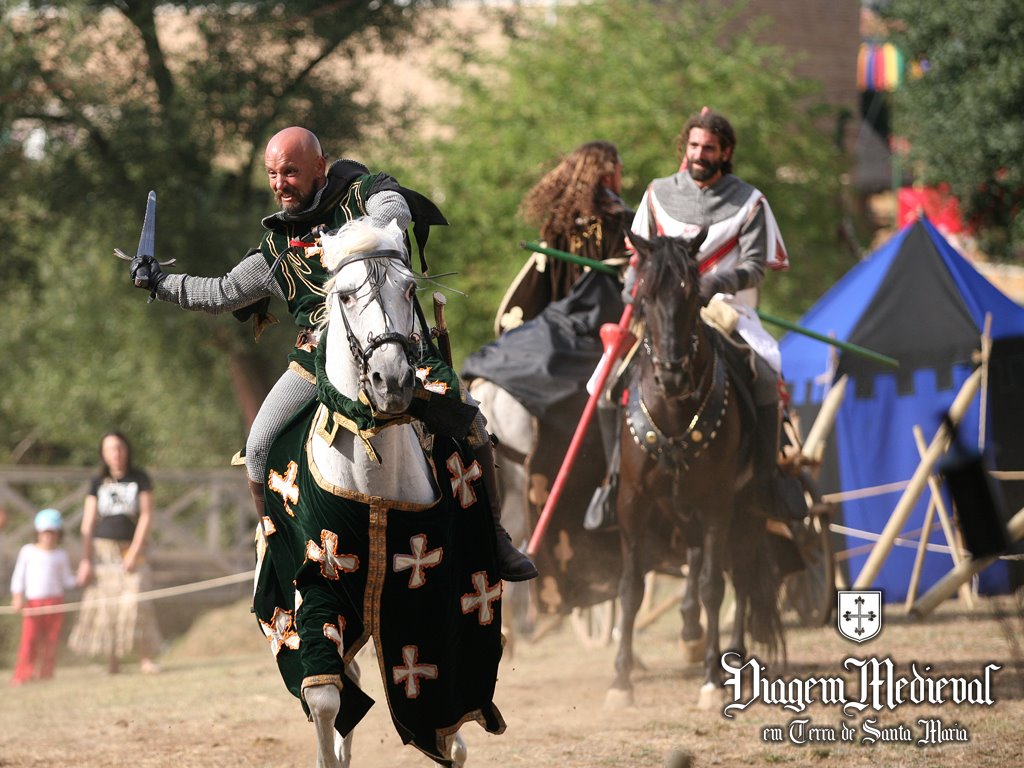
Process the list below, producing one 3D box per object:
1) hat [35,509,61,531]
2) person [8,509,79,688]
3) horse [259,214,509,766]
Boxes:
[{"bbox_3d":[-5.043,1.447,26.448,0.241,0.242,0.319,-1,-25,-8],"label":"hat"},{"bbox_3d":[-5.063,2.218,26.283,0.689,1.882,0.906,-2,-9,-3],"label":"person"},{"bbox_3d":[-1.239,0.959,21.527,2.088,4.708,1.414,-2,-9,-6],"label":"horse"}]
